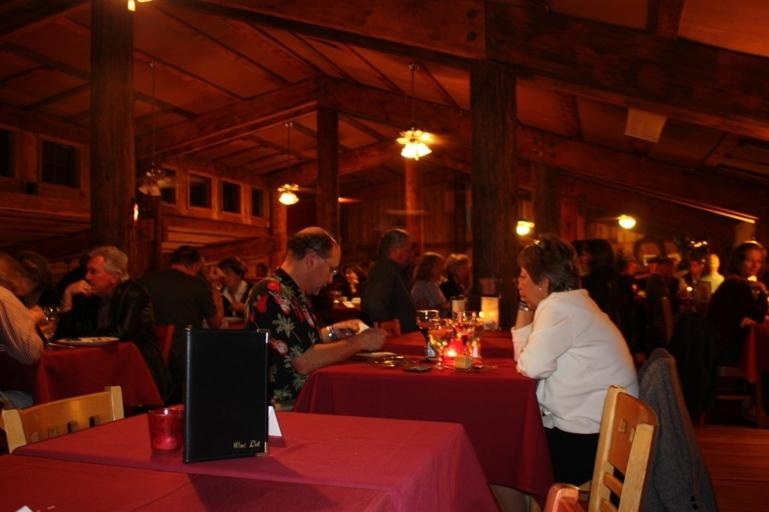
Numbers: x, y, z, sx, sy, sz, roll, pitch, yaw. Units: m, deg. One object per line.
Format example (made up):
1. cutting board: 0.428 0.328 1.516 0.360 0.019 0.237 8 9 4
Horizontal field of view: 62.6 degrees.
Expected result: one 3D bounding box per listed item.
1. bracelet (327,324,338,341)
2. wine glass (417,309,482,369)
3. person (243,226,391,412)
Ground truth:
1. bracelet: -0.316 0.469 3.883 0.055 0.085 0.078 1 -12 9
2. wine glass: 0.395 0.496 3.796 0.338 0.392 0.307 -1 -6 -8
3. person: -0.432 0.622 3.800 0.794 1.523 0.769 3 6 -8
